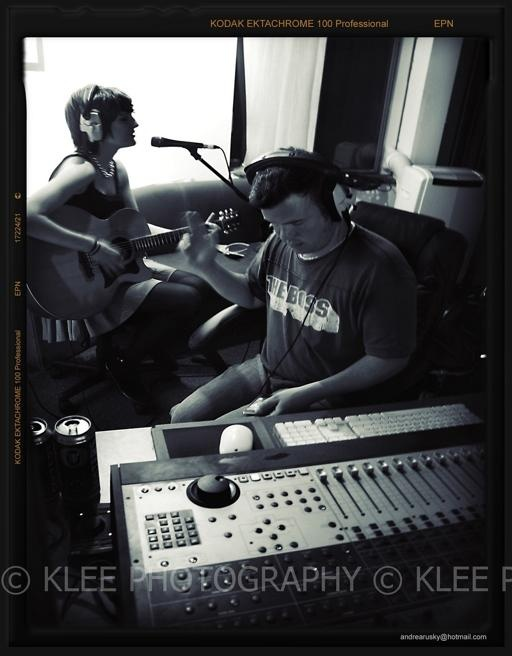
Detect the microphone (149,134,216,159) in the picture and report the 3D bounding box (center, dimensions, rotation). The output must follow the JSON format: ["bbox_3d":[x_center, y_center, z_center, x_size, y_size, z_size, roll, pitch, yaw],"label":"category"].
[{"bbox_3d":[-0.151,-0.364,1.048,0.122,0.034,0.026,6,34,-17],"label":"microphone"}]

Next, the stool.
[{"bbox_3d":[-0.361,0.039,1.173,0.232,0.292,0.263,-10,28,-21],"label":"stool"}]

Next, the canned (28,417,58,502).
[{"bbox_3d":[-0.428,0.261,1.068,0.041,0.149,0.059,-9,14,-24],"label":"canned"}]

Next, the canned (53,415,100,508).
[{"bbox_3d":[-0.364,0.280,1.079,0.075,0.185,0.080,-8,14,-21],"label":"canned"}]

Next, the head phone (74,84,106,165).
[{"bbox_3d":[-0.324,-0.402,1.025,0.078,0.111,0.039,-2,12,-34],"label":"head phone"}]

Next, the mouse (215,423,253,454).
[{"bbox_3d":[-0.041,0.233,1.108,0.073,0.044,0.051,-3,13,0],"label":"mouse"}]

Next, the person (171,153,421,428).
[{"bbox_3d":[0.090,0.039,1.230,0.503,0.875,0.446,-6,21,-11],"label":"person"}]

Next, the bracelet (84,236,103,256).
[{"bbox_3d":[-0.327,-0.166,1.063,0.027,0.032,0.032,5,34,-16],"label":"bracelet"}]
